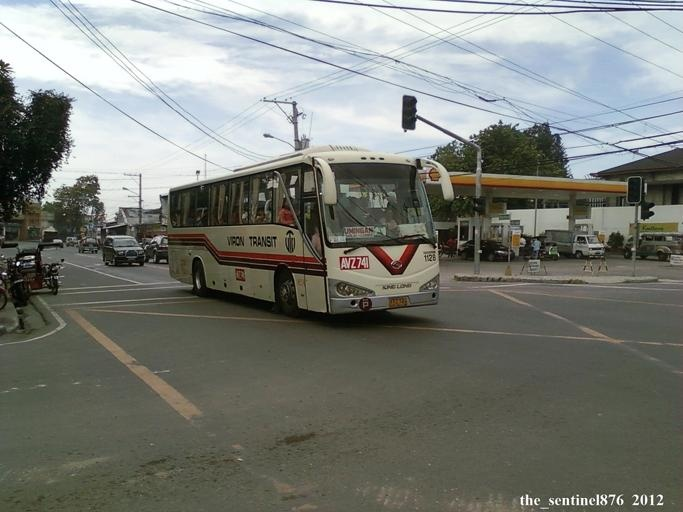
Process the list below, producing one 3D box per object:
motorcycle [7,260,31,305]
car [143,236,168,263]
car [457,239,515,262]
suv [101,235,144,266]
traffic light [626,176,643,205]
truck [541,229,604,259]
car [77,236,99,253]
[{"bbox_3d":[-9.480,0.826,16.361,0.525,1.173,2.504,-3,4,-31],"label":"motorcycle"},{"bbox_3d":[-14.145,-0.431,42.353,2.225,1.912,4.714,-1,6,-30],"label":"car"},{"bbox_3d":[11.127,-0.357,43.551,1.991,1.569,4.513,-1,-1,-35],"label":"car"},{"bbox_3d":[-14.570,-0.354,36.973,1.808,1.341,3.121,0,-2,-31],"label":"suv"},{"bbox_3d":[13.236,-2.918,25.079,0.618,1.194,1.394,1,4,28],"label":"traffic light"},{"bbox_3d":[19.869,-1.024,47.434,2.983,2.168,4.713,0,0,-24],"label":"truck"},{"bbox_3d":[-32.040,-1.423,70.274,1.970,1.672,4.119,-3,8,-33],"label":"car"}]
